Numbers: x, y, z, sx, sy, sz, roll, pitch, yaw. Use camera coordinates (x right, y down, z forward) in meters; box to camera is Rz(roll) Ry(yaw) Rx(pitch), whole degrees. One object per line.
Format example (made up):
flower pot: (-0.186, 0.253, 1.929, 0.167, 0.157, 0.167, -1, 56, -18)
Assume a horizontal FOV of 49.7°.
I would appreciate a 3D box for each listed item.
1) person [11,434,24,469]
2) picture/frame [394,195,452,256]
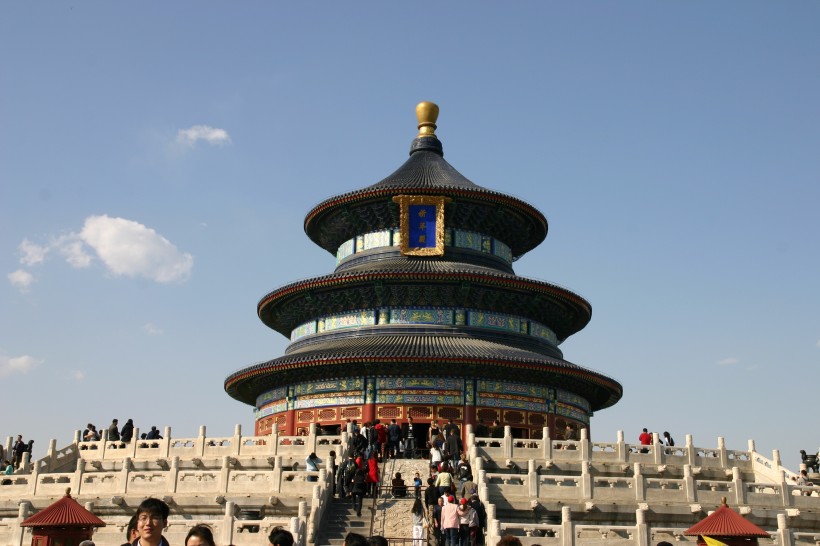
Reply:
person: (-16.115, 7.377, 36.565, 0.470, 1.115, 1.472, 11, -23, -23)
picture/frame: (0.696, -2.517, 46.637, 3.232, 3.301, 0.919, -1, -24, 0)
